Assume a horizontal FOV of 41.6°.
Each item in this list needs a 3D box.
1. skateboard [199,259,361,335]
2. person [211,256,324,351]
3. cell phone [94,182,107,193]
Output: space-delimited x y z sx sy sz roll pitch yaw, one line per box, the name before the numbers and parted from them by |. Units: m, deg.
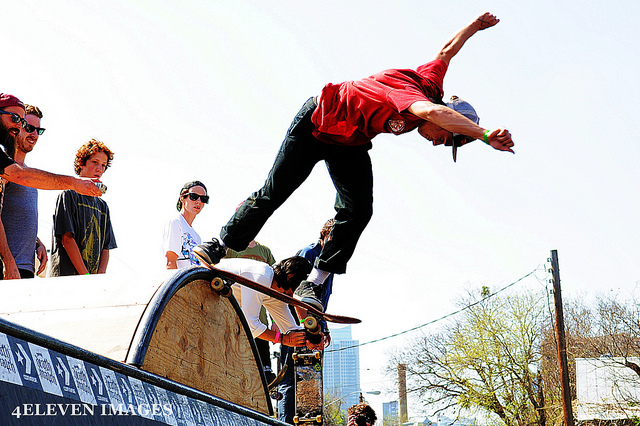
skateboard | -0.479 0.783 7.983 1.716 0.258 0.416 32 -12 -15
person | -0.571 0.815 8.780 1.489 0.749 0.528 20 6 24
cell phone | -1.873 -0.226 7.308 0.060 0.075 0.138 -15 -27 31
